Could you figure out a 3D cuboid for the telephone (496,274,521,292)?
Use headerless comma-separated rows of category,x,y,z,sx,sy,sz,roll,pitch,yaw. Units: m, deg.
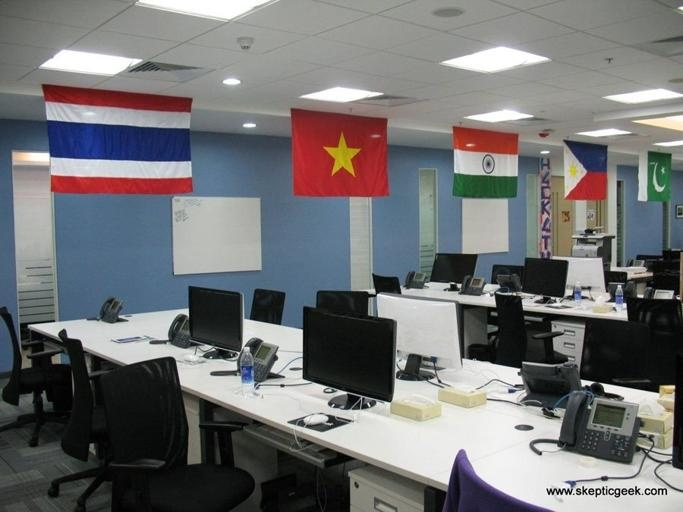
telephone,2.220,0.337,6.697,0.239,0.286,0.297,-9,6,-34

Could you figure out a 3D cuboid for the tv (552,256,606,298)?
tv,3.024,0.238,6.265,0.414,0.433,0.226,1,2,31

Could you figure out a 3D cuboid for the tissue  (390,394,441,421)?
tissue ,0.452,0.911,3.067,0.156,0.077,0.157,3,2,45

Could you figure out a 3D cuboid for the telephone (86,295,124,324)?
telephone,-2.736,0.644,6.004,0.224,0.307,0.750,11,-16,-35

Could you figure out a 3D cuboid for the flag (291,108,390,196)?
flag,-0.037,-1.489,7.162,1.209,0.836,0.069,-3,3,-41

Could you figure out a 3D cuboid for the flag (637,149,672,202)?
flag,7.213,-1.896,11.692,1.259,1.113,0.171,3,-1,-40

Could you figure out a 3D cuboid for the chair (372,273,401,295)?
chair,0.630,0.381,6.908,0.282,0.241,0.350,9,-4,-43

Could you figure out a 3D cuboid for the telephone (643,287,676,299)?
telephone,3.718,0.426,5.946,0.337,0.176,0.234,-4,3,-28

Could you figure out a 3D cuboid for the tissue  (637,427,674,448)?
tissue ,1.629,0.952,2.630,0.110,0.038,0.111,0,0,45

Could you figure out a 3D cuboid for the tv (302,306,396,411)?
tv,0.052,0.669,3.246,0.579,0.482,0.193,4,2,36

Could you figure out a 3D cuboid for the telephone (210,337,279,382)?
telephone,-0.663,0.719,3.695,0.335,0.207,0.350,4,-6,-29

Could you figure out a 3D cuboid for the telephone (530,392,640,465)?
telephone,1.322,0.878,2.583,0.435,0.236,0.343,2,10,41

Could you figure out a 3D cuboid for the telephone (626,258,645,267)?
telephone,6.270,0.135,10.815,0.188,0.185,0.144,1,5,-24

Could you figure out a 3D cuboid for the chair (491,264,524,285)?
chair,2.489,0.271,7.583,0.161,0.304,0.293,3,-7,-43

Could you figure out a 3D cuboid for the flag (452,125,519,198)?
flag,2.408,-1.592,8.504,1.259,0.919,0.079,1,1,-35

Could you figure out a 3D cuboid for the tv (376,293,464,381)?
tv,0.538,0.568,3.503,0.543,0.399,0.208,7,14,41

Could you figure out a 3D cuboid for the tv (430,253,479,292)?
tv,1.681,0.244,7.518,0.167,0.385,0.550,-1,0,-44

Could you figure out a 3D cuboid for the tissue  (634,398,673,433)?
tissue ,1.670,0.850,2.707,0.148,0.099,0.158,1,3,44

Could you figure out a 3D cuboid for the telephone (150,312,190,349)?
telephone,-1.546,0.685,4.710,0.364,0.132,0.277,-5,4,-36

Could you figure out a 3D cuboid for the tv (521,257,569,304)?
tv,2.550,0.306,6.312,0.495,0.511,0.193,5,-5,39

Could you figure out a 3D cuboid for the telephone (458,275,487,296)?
telephone,1.832,0.422,7.027,0.293,0.301,0.241,-4,-11,37

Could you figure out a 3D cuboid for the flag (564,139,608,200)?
flag,4.882,-1.744,10.163,1.195,1.174,0.056,3,-3,-27

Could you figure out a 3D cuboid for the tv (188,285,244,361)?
tv,-1.055,0.581,4.304,0.581,0.460,0.224,0,0,42

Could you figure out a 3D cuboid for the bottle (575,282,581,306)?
bottle,2.920,0.439,6.263,0.075,0.222,0.237,0,2,25
